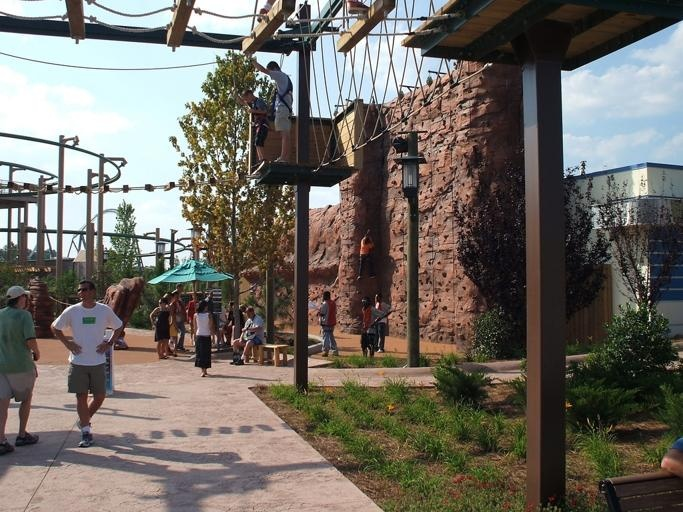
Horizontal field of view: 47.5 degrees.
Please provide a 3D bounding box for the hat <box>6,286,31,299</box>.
[{"bbox_3d":[-5.140,0.600,12.330,0.218,0.206,0.306,8,19,43],"label":"hat"}]

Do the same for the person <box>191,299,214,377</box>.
[{"bbox_3d":[-3.399,1.951,19.085,0.385,1.802,1.454,0,-3,-11],"label":"person"}]

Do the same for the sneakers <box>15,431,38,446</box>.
[{"bbox_3d":[-4.863,2.799,11.992,0.156,0.182,0.336,0,2,34],"label":"sneakers"}]

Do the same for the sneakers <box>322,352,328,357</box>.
[{"bbox_3d":[-0.500,2.910,23.271,0.143,0.166,0.108,6,-10,-38],"label":"sneakers"}]

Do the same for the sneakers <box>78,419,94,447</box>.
[{"bbox_3d":[-3.965,2.727,12.004,0.215,0.358,0.233,0,-2,-7],"label":"sneakers"}]

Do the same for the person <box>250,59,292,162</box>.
[{"bbox_3d":[-1.397,-3.147,16.787,0.717,2.210,1.219,-3,-2,3],"label":"person"}]
